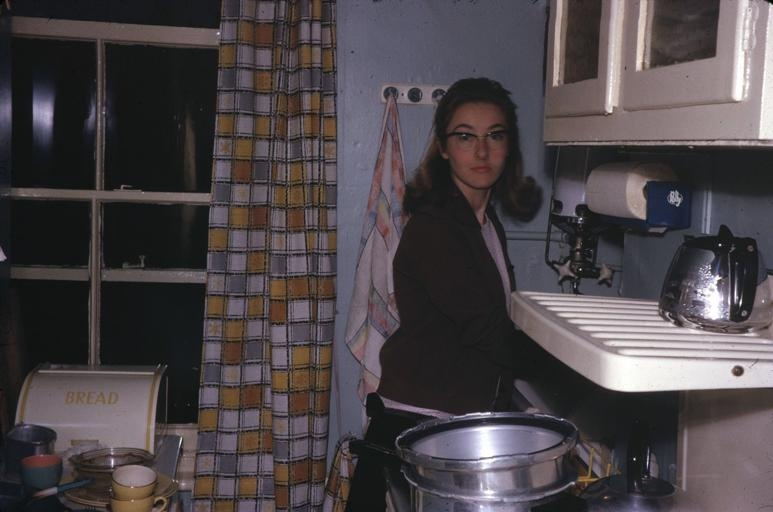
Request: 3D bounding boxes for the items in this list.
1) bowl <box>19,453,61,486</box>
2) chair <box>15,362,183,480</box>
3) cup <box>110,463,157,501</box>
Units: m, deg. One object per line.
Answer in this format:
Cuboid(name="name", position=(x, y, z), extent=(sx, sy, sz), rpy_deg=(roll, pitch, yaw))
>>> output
Cuboid(name="bowl", position=(-1.135, 0.730, 2.636), extent=(0.108, 0.092, 0.111), rpy_deg=(4, 8, -1))
Cuboid(name="chair", position=(-1.116, 0.614, 3.061), extent=(0.531, 0.339, 0.557), rpy_deg=(6, -9, -22))
Cuboid(name="cup", position=(-0.807, 0.720, 2.538), extent=(0.104, 0.087, 0.104), rpy_deg=(1, 4, 0))
